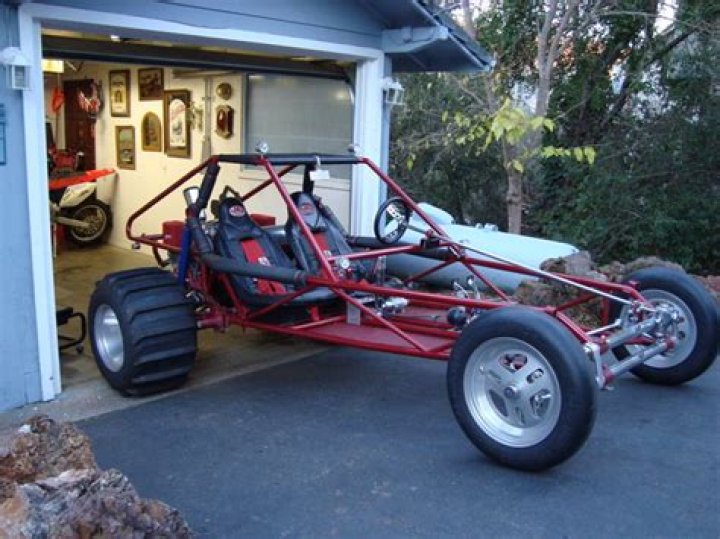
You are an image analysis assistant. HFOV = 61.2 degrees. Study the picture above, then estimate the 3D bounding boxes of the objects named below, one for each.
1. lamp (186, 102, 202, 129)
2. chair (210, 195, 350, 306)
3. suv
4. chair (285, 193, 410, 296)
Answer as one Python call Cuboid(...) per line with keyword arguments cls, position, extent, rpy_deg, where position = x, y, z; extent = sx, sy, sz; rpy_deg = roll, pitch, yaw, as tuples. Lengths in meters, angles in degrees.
Cuboid(cls="lamp", position=(-2.105, -1.993, 7.845), extent=(0.241, 0.335, 0.084), rpy_deg=(8, 14, 31))
Cuboid(cls="chair", position=(-0.581, -0.120, 4.335), extent=(0.695, 0.885, 1.032), rpy_deg=(-8, 2, -43))
Cuboid(cls="suv", position=(0.096, 0.206, 3.940), extent=(3.727, 1.544, 2.396), rpy_deg=(6, 10, 34))
Cuboid(cls="chair", position=(-0.282, -0.219, 4.611), extent=(0.607, 0.760, 0.683), rpy_deg=(-18, 8, -27))
